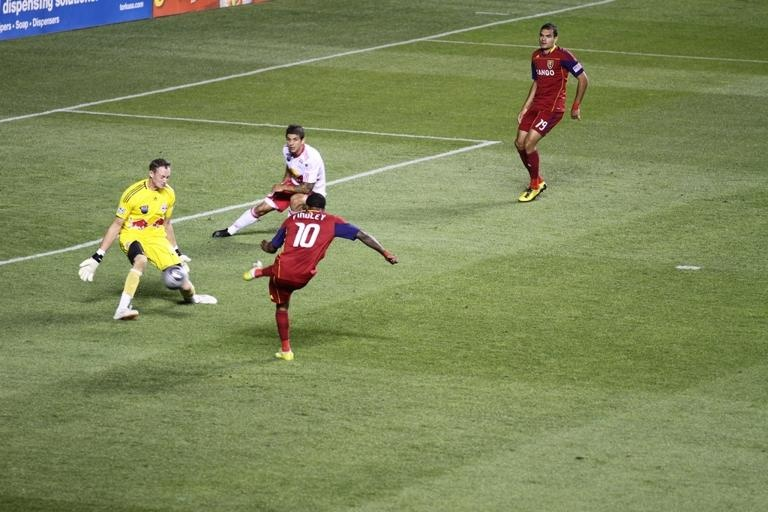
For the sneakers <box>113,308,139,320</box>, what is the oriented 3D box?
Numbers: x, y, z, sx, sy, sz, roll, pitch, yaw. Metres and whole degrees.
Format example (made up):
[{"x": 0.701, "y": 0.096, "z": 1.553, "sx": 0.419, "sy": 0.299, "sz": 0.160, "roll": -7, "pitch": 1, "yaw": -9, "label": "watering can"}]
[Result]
[{"x": -3.016, "y": 0.691, "z": 12.611, "sx": 0.373, "sy": 0.119, "sz": 0.119, "roll": -2, "pitch": 4, "yaw": 12, "label": "sneakers"}]

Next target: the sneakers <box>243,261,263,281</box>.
[{"x": -1.606, "y": 0.193, "z": 13.081, "sx": 0.182, "sy": 0.113, "sz": 0.312, "roll": 26, "pitch": 35, "yaw": 19, "label": "sneakers"}]

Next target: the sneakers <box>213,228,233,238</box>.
[{"x": -2.369, "y": -0.337, "z": 15.571, "sx": 0.273, "sy": 0.083, "sz": 0.131, "roll": 1, "pitch": 2, "yaw": -36, "label": "sneakers"}]

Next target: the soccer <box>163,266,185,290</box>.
[{"x": -2.540, "y": 0.251, "z": 12.868, "sx": 0.217, "sy": 0.228, "sz": 0.288, "roll": -25, "pitch": 23, "yaw": -32, "label": "soccer"}]

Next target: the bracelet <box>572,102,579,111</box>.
[{"x": 3.214, "y": -2.499, "z": 17.600, "sx": 0.164, "sy": 0.098, "sz": 0.127, "roll": 5, "pitch": -2, "yaw": -9, "label": "bracelet"}]

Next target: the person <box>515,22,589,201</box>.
[{"x": 2.646, "y": -2.387, "z": 17.395, "sx": 0.826, "sy": 2.819, "sz": 1.448, "roll": 10, "pitch": 21, "yaw": 40, "label": "person"}]

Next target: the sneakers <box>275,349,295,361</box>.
[{"x": -1.084, "y": 1.103, "z": 11.716, "sx": 0.240, "sy": 0.077, "sz": 0.087, "roll": 8, "pitch": 14, "yaw": 36, "label": "sneakers"}]

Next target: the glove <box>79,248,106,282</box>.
[{"x": -3.653, "y": 0.128, "z": 13.309, "sx": 0.167, "sy": 0.488, "sz": 0.309, "roll": 34, "pitch": 27, "yaw": -34, "label": "glove"}]

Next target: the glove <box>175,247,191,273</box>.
[{"x": -2.557, "y": 0.061, "z": 13.472, "sx": 0.093, "sy": 0.288, "sz": 0.295, "roll": -43, "pitch": -3, "yaw": -2, "label": "glove"}]
